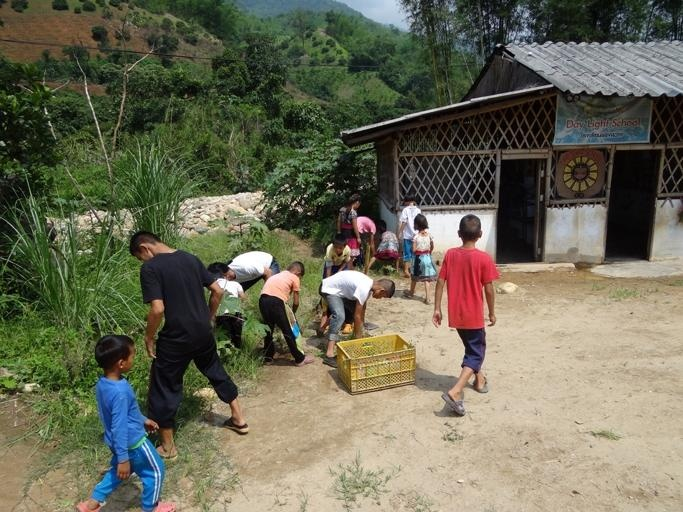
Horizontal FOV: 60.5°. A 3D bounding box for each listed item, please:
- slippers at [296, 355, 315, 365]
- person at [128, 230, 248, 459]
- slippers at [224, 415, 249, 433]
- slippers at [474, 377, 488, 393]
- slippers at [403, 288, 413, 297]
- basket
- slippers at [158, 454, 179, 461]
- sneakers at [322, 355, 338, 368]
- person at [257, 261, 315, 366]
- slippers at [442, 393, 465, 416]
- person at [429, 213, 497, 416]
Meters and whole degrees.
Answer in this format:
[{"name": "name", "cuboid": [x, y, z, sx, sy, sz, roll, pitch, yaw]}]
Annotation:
[{"name": "slippers", "cuboid": [-0.480, 1.375, 7.761, 0.211, 0.093, 0.089, -14, 23, -29]}, {"name": "person", "cuboid": [-1.649, 0.862, 6.298, 1.015, 2.241, 0.804, -10, 14, -31]}, {"name": "slippers", "cuboid": [-1.175, 1.884, 6.576, 0.303, 0.135, 0.134, 18, 22, 32]}, {"name": "slippers", "cuboid": [1.678, 1.548, 7.075, 0.105, 0.289, 0.101, 11, 41, 26]}, {"name": "slippers", "cuboid": [1.148, 0.640, 10.010, 0.155, 0.158, 0.087, -20, 28, -14]}, {"name": "basket", "cuboid": [0.406, 1.332, 7.383, 0.928, 0.465, 0.739, -14, 9, -24]}, {"name": "slippers", "cuboid": [-1.803, 2.112, 6.134, 0.219, 0.071, 0.090, 5, 6, -6]}, {"name": "sneakers", "cuboid": [-0.148, 1.386, 7.686, 0.198, 0.083, 0.098, 4, 6, 42]}, {"name": "person", "cuboid": [-0.742, 0.755, 7.709, 0.650, 1.336, 0.737, -2, 9, -4]}, {"name": "slippers", "cuboid": [1.285, 1.684, 6.725, 0.280, 0.277, 0.269, 0, 9, 4]}, {"name": "person", "cuboid": [1.440, 0.667, 6.799, 0.718, 2.250, 0.657, -3, 9, -10]}]
